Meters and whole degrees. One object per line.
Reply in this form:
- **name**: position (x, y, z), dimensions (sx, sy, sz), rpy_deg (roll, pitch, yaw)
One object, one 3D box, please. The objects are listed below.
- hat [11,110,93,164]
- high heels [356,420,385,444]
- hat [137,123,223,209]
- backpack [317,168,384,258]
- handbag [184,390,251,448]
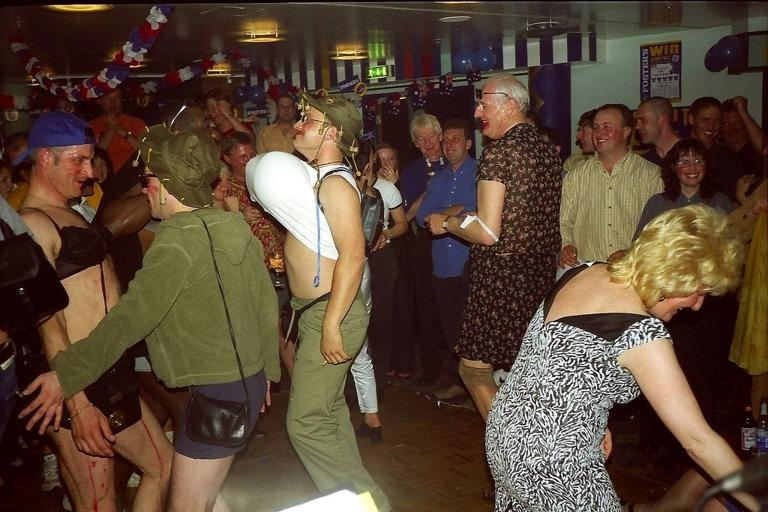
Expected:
- **hat**: position (-1.660, -0.609, 2.676), dimensions (0.401, 0.193, 0.247), rpy_deg (-12, 16, -6)
- **high heels**: position (-0.109, 1.385, 4.212), dimensions (0.253, 0.101, 0.093), rpy_deg (19, 19, 37)
- **hat**: position (-0.909, -0.394, 2.421), dimensions (0.386, 0.371, 0.168), rpy_deg (16, -18, -30)
- **backpack**: position (-0.126, -0.308, 3.284), dimensions (0.487, 0.449, 0.339), rpy_deg (17, 18, 41)
- **handbag**: position (-0.698, 0.688, 2.382), dimensions (0.323, 0.294, 0.159), rpy_deg (2, 5, 25)
